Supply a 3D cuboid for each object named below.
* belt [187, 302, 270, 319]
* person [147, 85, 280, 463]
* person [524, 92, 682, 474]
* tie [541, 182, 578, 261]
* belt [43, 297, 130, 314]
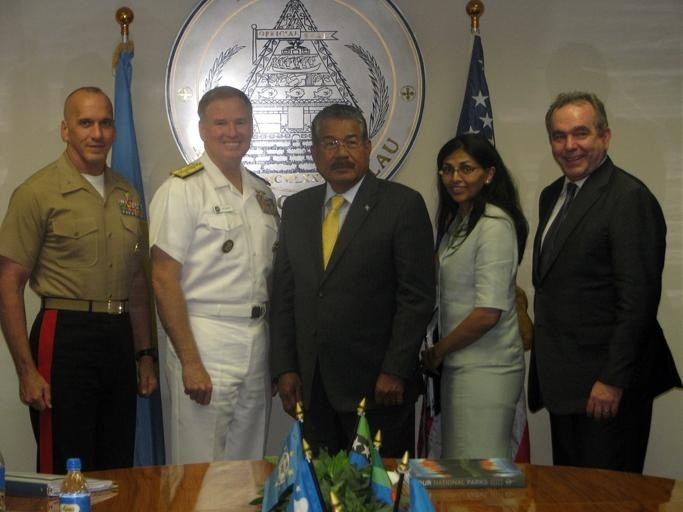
[{"bbox_3d":[-0.592,0.281,3.361,0.378,0.085,0.094,2,-6,-21],"label":"belt"},{"bbox_3d":[-0.655,0.069,3.421,0.682,1.968,0.269,2,-5,-19],"label":"person"},{"bbox_3d":[1.247,0.104,3.266,0.656,1.859,0.316,-3,-6,27],"label":"person"},{"bbox_3d":[1.131,-0.238,3.396,0.095,0.633,0.096,7,-42,23],"label":"tie"},{"bbox_3d":[-1.360,0.260,3.492,0.409,0.088,0.095,2,-6,-25],"label":"belt"}]
